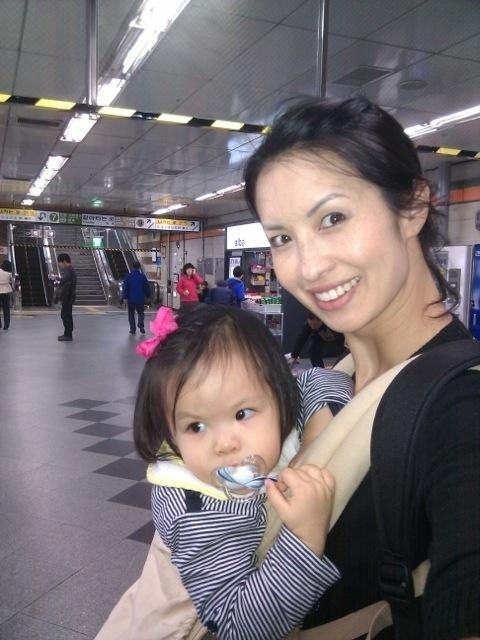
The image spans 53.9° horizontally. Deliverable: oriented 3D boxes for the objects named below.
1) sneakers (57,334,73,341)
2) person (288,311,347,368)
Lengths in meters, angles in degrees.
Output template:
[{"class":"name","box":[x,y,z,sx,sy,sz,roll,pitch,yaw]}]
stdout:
[{"class":"sneakers","box":[-3.784,0.366,10.067,0.239,0.093,0.134,3,3,0]},{"class":"person","box":[0.915,0.287,5.777,0.293,0.334,0.884,-15,-25,3]}]
